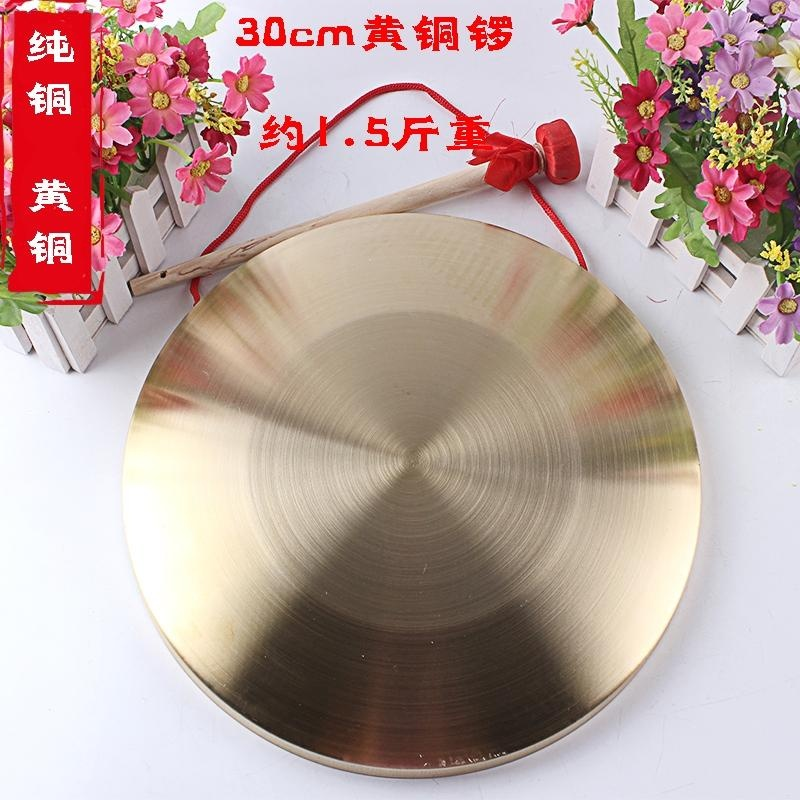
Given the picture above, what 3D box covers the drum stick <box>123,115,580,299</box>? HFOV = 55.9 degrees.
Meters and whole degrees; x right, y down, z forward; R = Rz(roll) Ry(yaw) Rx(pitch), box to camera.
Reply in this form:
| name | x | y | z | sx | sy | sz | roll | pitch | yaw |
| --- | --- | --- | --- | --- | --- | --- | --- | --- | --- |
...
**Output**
| name | x | y | z | sx | sy | sz | roll | pitch | yaw |
| --- | --- | --- | --- | --- | --- | --- | --- | --- | --- |
| drum stick | -0.084 | -0.300 | 1.211 | 0.660 | 0.116 | 0.094 | -22 | -44 | -10 |
